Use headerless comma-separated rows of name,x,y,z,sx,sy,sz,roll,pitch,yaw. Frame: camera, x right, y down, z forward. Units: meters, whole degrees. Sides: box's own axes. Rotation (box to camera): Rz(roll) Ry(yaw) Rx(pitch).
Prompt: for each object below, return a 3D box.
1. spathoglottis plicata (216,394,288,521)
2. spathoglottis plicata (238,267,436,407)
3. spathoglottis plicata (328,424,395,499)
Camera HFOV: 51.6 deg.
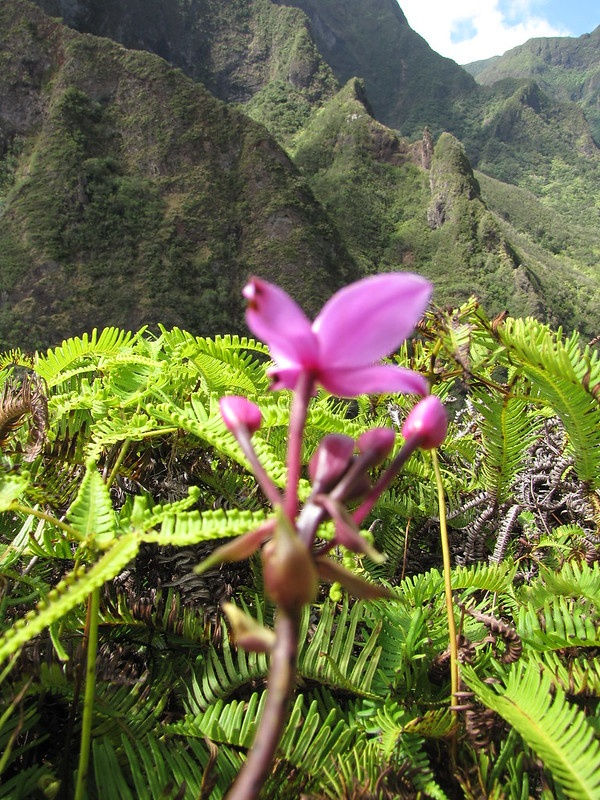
spathoglottis plicata,-0.034,0.034,0.452,0.034,0.026,0.109,-7,56,-27
spathoglottis plicata,0.018,-0.046,0.423,0.122,0.046,0.115,-10,-3,23
spathoglottis plicata,0.049,0.046,0.452,0.064,0.028,0.028,-46,40,-19
